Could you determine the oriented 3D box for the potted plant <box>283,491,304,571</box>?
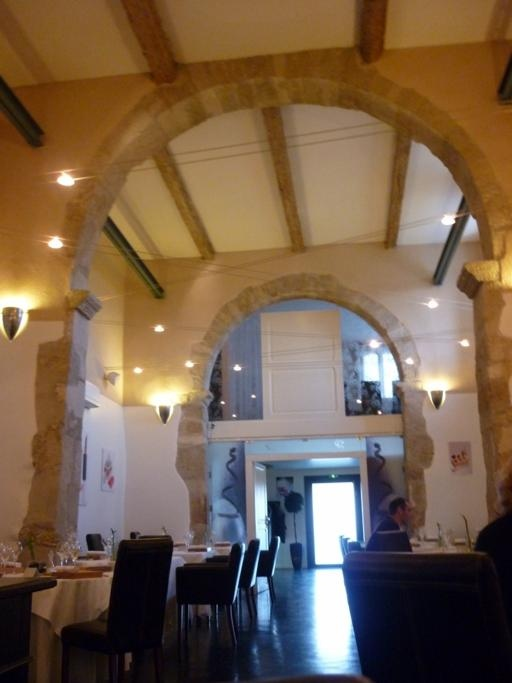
[{"bbox_3d":[0.853,4.190,11.246,0.420,1.598,0.549,-2,-15,5],"label":"potted plant"}]
